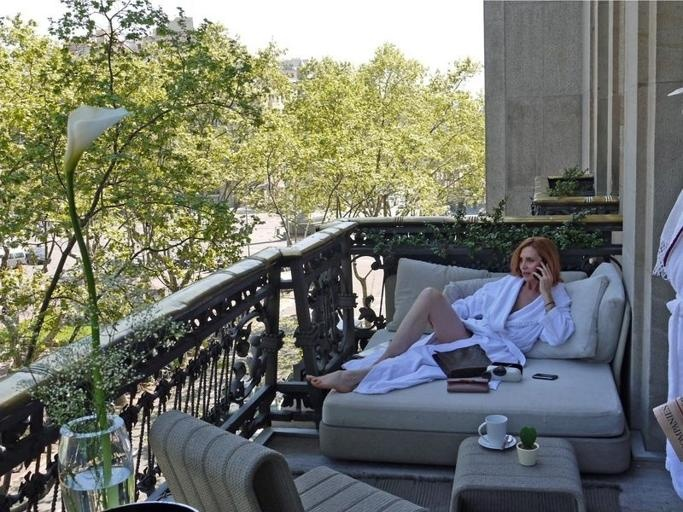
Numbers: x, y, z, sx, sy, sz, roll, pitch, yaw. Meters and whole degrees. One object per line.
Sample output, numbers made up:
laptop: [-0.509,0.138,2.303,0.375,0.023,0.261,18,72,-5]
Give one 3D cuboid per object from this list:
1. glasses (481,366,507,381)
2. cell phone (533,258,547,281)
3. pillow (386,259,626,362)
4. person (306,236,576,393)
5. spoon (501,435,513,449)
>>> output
glasses: [0.994,0.758,4.233,0.123,0.051,0.090,1,9,9]
cell phone: [1.457,0.105,4.811,0.036,0.128,0.090,-1,11,-15]
pillow: [1.214,0.349,4.936,1.461,0.643,0.892,0,6,17]
person: [0.704,0.393,4.684,2.003,0.985,1.264,-4,8,-15]
spoon: [0.925,1.048,3.672,0.058,0.017,0.208,3,6,17]
